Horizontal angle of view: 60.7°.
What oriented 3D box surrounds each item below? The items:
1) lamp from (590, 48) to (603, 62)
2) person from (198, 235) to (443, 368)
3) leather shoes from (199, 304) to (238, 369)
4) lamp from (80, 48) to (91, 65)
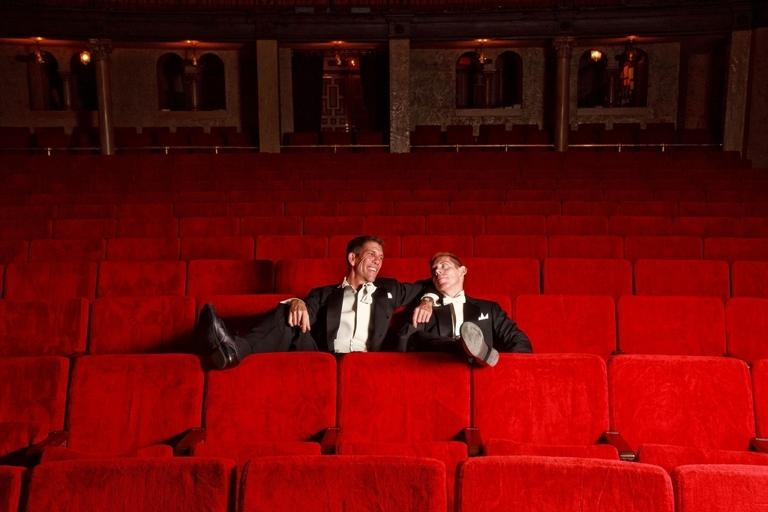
[{"bbox_3d":[3.626,-3.420,11.216,0.200,0.141,1.205,4,14,17],"label":"lamp"},{"bbox_3d":[-0.316,0.243,3.367,0.486,0.761,1.426,5,-7,45],"label":"person"},{"bbox_3d":[-0.724,0.365,2.876,0.117,0.331,0.146,-27,-27,12],"label":"leather shoes"},{"bbox_3d":[-4.674,-3.107,10.235,0.121,0.187,1.502,-6,15,-24],"label":"lamp"}]
